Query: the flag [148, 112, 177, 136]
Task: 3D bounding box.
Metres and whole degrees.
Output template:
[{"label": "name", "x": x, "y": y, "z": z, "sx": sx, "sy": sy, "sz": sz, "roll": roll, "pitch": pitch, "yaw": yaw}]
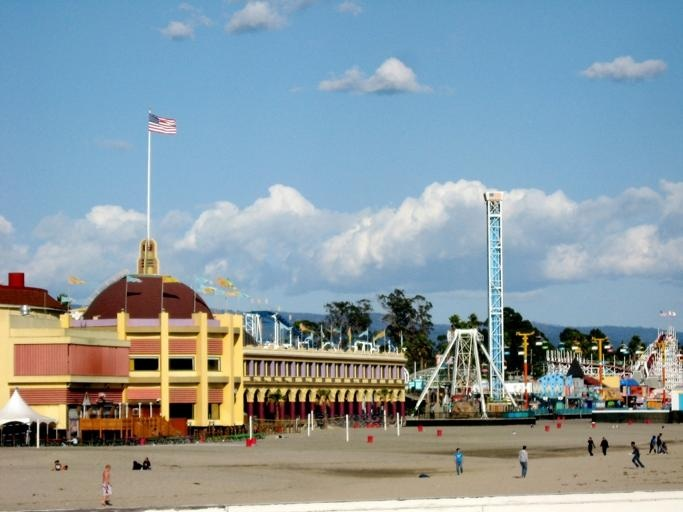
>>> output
[{"label": "flag", "x": -18.231, "y": -13.812, "z": 158.880, "sx": 2.447, "sy": 2.167, "sz": 3.315, "roll": -1, "pitch": -9, "yaw": -13}]
